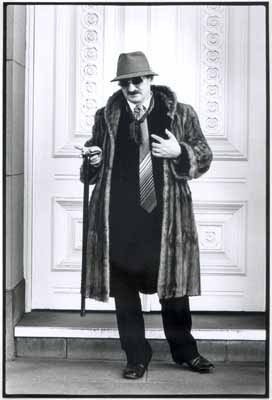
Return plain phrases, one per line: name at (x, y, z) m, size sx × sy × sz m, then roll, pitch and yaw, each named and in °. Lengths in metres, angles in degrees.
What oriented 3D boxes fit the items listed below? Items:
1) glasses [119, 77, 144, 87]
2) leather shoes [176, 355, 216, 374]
glasses at (-0.036, -0.691, 4.989) m, size 0.068 × 0.027 × 0.074 m, roll -10°, pitch -19°, yaw 21°
leather shoes at (0.340, 0.968, 5.014) m, size 0.234 × 0.119 × 0.094 m, roll -7°, pitch -10°, yaw 23°
